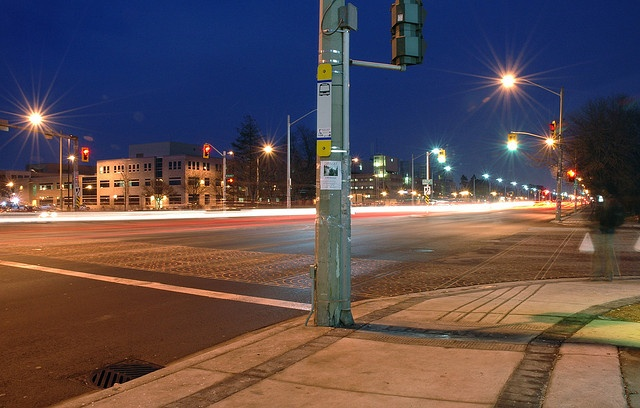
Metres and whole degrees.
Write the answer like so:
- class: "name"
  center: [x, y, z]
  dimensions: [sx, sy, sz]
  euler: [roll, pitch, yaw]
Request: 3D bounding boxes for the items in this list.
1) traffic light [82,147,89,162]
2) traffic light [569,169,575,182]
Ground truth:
- class: "traffic light"
  center: [-17.001, -3.558, 35.608]
  dimensions: [0.365, 0.998, 1.878]
  euler: [-4, 4, -30]
- class: "traffic light"
  center: [18.751, -2.094, 36.556]
  dimensions: [0.477, 0.847, 1.088]
  euler: [0, 4, 23]
